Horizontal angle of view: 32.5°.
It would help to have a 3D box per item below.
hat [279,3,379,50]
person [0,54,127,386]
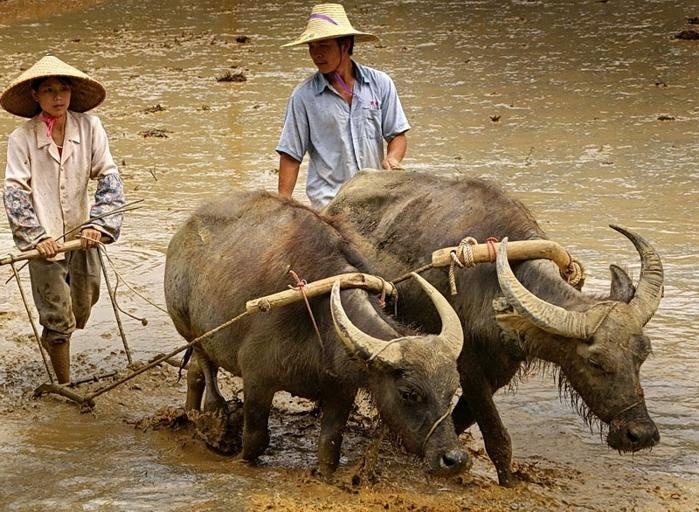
[{"bbox_3d":[-0.139,-2.200,11.246,0.671,0.217,0.613,-12,-13,21],"label":"hat"},{"bbox_3d":[-2.613,-0.296,10.925,1.073,2.982,1.156,0,18,-10],"label":"person"}]
